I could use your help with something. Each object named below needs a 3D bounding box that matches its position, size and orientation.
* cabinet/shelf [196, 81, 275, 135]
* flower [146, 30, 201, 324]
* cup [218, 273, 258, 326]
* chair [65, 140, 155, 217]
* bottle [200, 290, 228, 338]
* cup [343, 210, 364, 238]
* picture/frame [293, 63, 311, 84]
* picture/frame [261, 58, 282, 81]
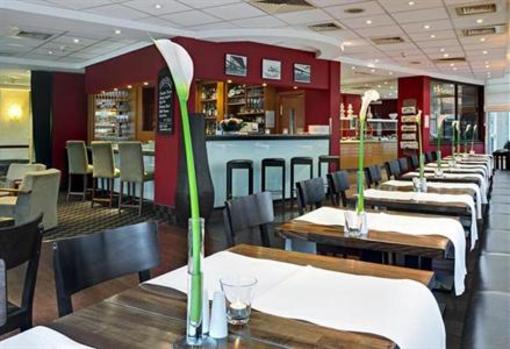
[{"bbox_3d":[-0.537,-1.845,9.163,2.126,1.864,0.695,0,1,4],"label":"cabinet/shelf"},{"bbox_3d":[-0.274,-0.012,1.245,0.148,0.987,0.356,-3,9,-15],"label":"flower"},{"bbox_3d":[-0.059,0.455,1.289,0.159,0.161,0.159,1,-5,0],"label":"cup"},{"bbox_3d":[-2.964,0.098,7.166,1.597,1.254,0.900,2,3,37],"label":"chair"},{"bbox_3d":[-0.146,0.476,1.247,0.088,0.173,0.128,-1,9,-6],"label":"bottle"},{"bbox_3d":[0.606,0.312,2.174,0.142,0.126,0.117,-1,2,15],"label":"cup"},{"bbox_3d":[1.019,-2.272,7.675,0.535,0.370,0.020,-4,4,-44],"label":"picture/frame"},{"bbox_3d":[0.309,-2.207,7.204,0.504,0.349,0.020,-9,8,-40],"label":"picture/frame"}]
